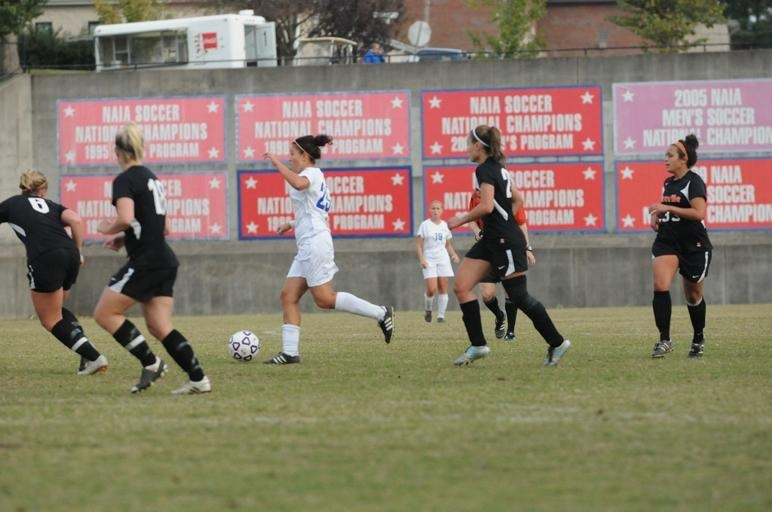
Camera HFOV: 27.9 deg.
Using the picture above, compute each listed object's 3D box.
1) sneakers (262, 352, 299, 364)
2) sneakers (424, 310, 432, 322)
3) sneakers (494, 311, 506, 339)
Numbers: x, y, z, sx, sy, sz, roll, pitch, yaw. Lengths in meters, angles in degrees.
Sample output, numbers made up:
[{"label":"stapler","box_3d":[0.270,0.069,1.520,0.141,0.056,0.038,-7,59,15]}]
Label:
[{"label":"sneakers","box_3d":[-2.016,1.963,29.534,0.678,0.266,0.239,4,-3,0]},{"label":"sneakers","box_3d":[0.948,1.337,34.676,0.108,0.275,0.113,-3,-24,-3]},{"label":"sneakers","box_3d":[2.332,1.397,31.724,0.195,0.555,0.254,9,13,42]}]
